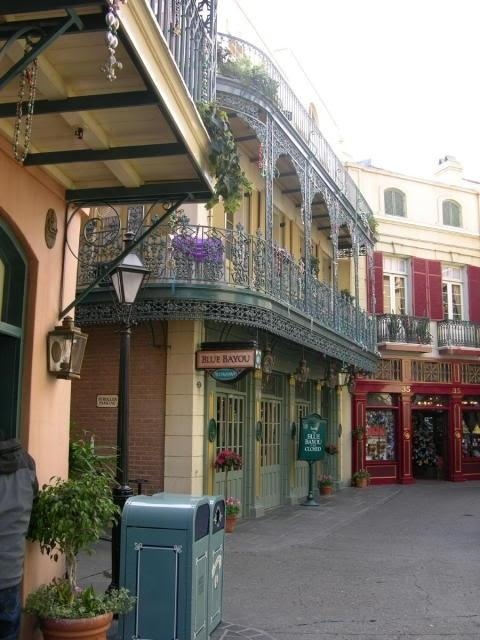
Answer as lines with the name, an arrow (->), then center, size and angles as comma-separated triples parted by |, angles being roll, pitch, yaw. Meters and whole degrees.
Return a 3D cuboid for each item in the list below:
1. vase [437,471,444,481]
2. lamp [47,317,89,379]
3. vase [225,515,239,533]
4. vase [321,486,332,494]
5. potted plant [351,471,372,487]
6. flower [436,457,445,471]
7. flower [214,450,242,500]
vase -> 7.563, 5.850, 24.142 | 0.230, 0.348, 0.808 | -1, -11, 15
lamp -> -1.371, 0.256, 5.090 | 0.201, 0.410, 0.323 | -2, -10, 18
vase -> -0.136, 3.476, 10.906 | 0.139, 0.261, 0.440 | -1, -10, 12
vase -> 2.431, 4.836, 18.119 | 0.225, 0.188, 0.242 | 2, -8, 15
potted plant -> 3.999, 5.274, 21.239 | 0.469, 0.504, 0.499 | -6, -10, 31
flower -> 7.629, 5.457, 24.309 | 0.318, 0.539, 0.361 | 1, -4, -13
flower -> -0.224, 2.791, 11.535 | 0.455, 0.866, 1.216 | 1, -10, -1
